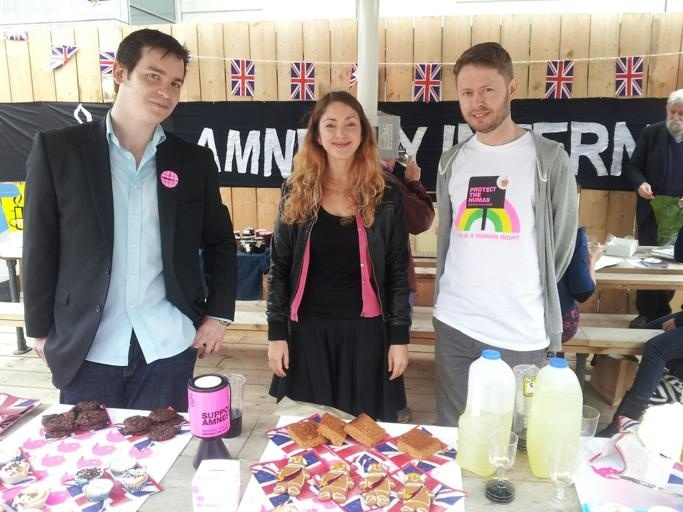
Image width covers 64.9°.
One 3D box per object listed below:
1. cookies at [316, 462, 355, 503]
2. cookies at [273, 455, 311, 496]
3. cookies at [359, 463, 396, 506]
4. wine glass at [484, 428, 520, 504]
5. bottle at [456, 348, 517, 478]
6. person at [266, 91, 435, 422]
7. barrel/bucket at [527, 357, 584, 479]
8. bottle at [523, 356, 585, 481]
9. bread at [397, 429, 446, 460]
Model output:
[{"bbox_3d":[-0.015,0.688,1.628,0.113,0.040,0.164,-5,20,6],"label":"cookies"},{"bbox_3d":[-0.146,0.673,1.649,0.112,0.033,0.154,2,23,11],"label":"cookies"},{"bbox_3d":[0.109,0.694,1.611,0.102,0.068,0.118,8,14,39],"label":"cookies"},{"bbox_3d":[0.491,0.624,1.647,0.086,0.183,0.179,2,11,16],"label":"wine glass"},{"bbox_3d":[0.429,0.511,1.677,0.165,0.408,0.157,4,19,-1],"label":"bottle"},{"bbox_3d":[-0.002,0.045,2.731,0.624,1.617,0.627,-1,7,-2],"label":"person"},{"bbox_3d":[0.684,0.485,1.692,0.169,0.357,0.192,-2,5,-37],"label":"barrel/bucket"},{"bbox_3d":[0.656,0.500,1.674,0.176,0.357,0.192,1,4,0],"label":"bottle"},{"bbox_3d":[0.245,0.599,1.753,0.095,0.031,0.093,-10,13,-40],"label":"bread"}]
